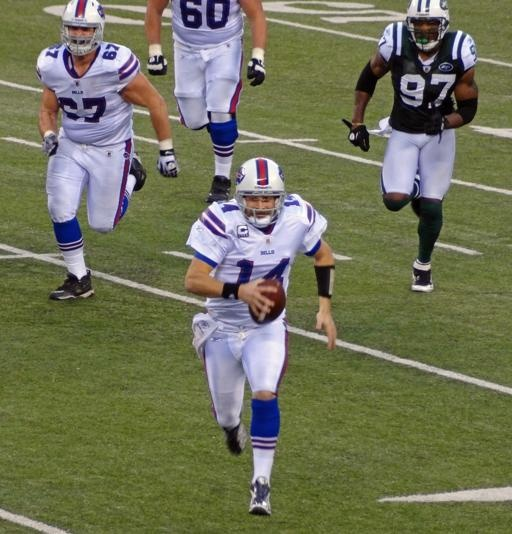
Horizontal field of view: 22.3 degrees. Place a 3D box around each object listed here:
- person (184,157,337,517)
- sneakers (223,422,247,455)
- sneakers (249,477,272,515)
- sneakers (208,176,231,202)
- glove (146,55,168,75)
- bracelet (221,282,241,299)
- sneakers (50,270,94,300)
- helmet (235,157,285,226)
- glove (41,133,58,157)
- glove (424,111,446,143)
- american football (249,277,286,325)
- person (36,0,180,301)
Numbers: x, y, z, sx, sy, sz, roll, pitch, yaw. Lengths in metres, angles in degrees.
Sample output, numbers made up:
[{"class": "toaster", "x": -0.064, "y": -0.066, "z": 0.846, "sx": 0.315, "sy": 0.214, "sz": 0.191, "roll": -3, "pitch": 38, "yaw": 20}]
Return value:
[{"class": "person", "x": -0.016, "y": 0.301, "z": 6.468, "sx": 0.762, "sy": 1.497, "sz": 1.238, "roll": 8, "pitch": 27, "yaw": 9}, {"class": "sneakers", "x": -0.116, "y": 0.861, "z": 6.570, "sx": 0.112, "sy": 0.162, "sz": 0.153, "roll": -1, "pitch": 59, "yaw": -5}, {"class": "sneakers", "x": 0.014, "y": 1.064, "z": 6.024, "sx": 0.092, "sy": 0.130, "sz": 0.149, "roll": 3, "pitch": 27, "yaw": 0}, {"class": "sneakers", "x": -0.301, "y": -0.631, "z": 10.470, "sx": 0.128, "sy": 0.159, "sz": 0.369, "roll": 2, "pitch": 6, "yaw": 1}, {"class": "glove", "x": -0.768, "y": -1.555, "z": 9.970, "sx": 0.124, "sy": 0.157, "sz": 0.166, "roll": -8, "pitch": 8, "yaw": -38}, {"class": "bracelet", "x": -0.127, "y": 0.106, "z": 6.280, "sx": 0.094, "sy": 0.086, "sz": 0.071, "roll": 0, "pitch": 6, "yaw": -2}, {"class": "sneakers", "x": -1.190, "y": 0.138, "z": 8.470, "sx": 0.112, "sy": 0.169, "sz": 0.338, "roll": 1, "pitch": 3, "yaw": 42}, {"class": "helmet", "x": 0.015, "y": -0.374, "z": 6.443, "sx": 0.246, "sy": 0.317, "sz": 0.328, "roll": -1, "pitch": 20, "yaw": -5}, {"class": "glove", "x": -1.338, "y": -0.789, "z": 8.382, "sx": 0.058, "sy": 0.137, "sz": 0.105, "roll": 6, "pitch": 9, "yaw": 36}, {"class": "glove", "x": 1.187, "y": -0.945, "z": 8.623, "sx": 0.115, "sy": 0.135, "sz": 0.220, "roll": 12, "pitch": 28, "yaw": 16}, {"class": "american football", "x": 0.018, "y": 0.158, "z": 6.295, "sx": 0.188, "sy": 0.190, "sz": 0.243, "roll": -7, "pitch": 15, "yaw": 9}, {"class": "person", "x": -1.101, "y": -0.767, "z": 8.595, "sx": 0.701, "sy": 1.935, "sz": 1.043, "roll": 25, "pitch": 34, "yaw": 36}]
